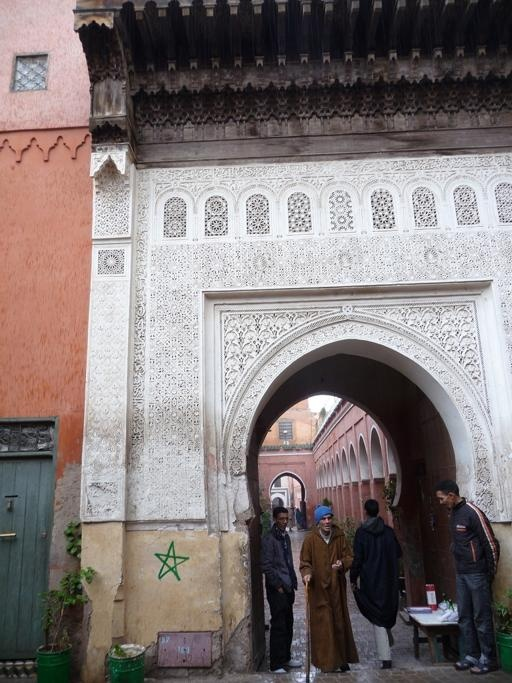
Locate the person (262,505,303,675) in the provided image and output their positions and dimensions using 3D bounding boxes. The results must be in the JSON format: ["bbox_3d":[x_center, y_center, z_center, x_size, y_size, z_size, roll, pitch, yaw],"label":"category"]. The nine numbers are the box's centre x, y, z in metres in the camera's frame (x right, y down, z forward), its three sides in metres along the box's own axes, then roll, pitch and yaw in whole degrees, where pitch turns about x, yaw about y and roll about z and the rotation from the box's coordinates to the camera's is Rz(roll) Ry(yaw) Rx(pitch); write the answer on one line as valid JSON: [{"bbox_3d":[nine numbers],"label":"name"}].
[{"bbox_3d":[0.171,1.971,3.573,0.258,1.215,0.643,-5,-16,10],"label":"person"}]

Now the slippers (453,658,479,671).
[{"bbox_3d":[1.287,1.985,2.749,0.142,0.075,0.068,11,-50,-10],"label":"slippers"}]

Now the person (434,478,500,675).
[{"bbox_3d":[1.369,1.453,2.849,0.330,1.102,0.281,-14,-19,37],"label":"person"}]

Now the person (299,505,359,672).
[{"bbox_3d":[0.531,1.848,3.305,0.374,1.246,0.347,-3,-2,-21],"label":"person"}]
